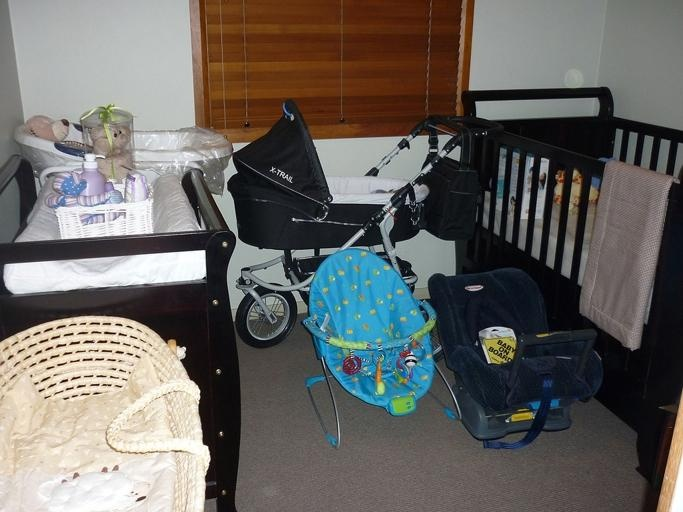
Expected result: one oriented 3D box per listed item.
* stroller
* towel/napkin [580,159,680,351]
[{"bbox_3d":[0.089,-0.173,3.192,1.421,1.232,0.815,-3,11,-11],"label":"stroller"},{"bbox_3d":[1.261,-0.014,2.464,0.151,0.740,0.407,-9,25,-14],"label":"towel/napkin"}]
